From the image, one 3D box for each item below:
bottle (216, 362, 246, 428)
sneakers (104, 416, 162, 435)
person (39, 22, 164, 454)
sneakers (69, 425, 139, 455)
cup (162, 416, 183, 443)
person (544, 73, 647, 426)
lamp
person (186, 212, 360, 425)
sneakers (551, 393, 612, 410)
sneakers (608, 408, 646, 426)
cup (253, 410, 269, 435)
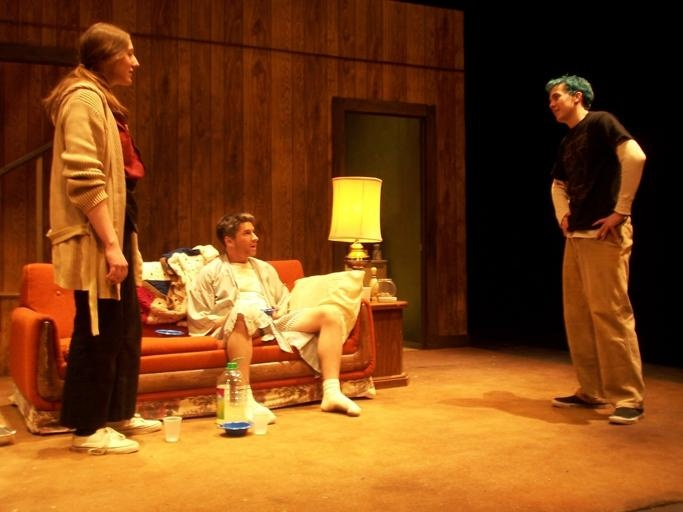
[{"bbox_3d":[-0.605,0.740,3.263,0.159,0.265,0.193,-1,1,-12],"label":"bottle"},{"bbox_3d":[-1.087,0.829,3.092,0.267,0.120,0.115,0,-1,-20],"label":"sneakers"},{"bbox_3d":[-1.092,-0.136,2.683,0.410,1.806,0.345,-1,2,-28],"label":"person"},{"bbox_3d":[-1.103,0.816,2.755,0.257,0.116,0.138,2,-4,-9],"label":"sneakers"},{"bbox_3d":[-0.852,0.847,3.021,0.106,0.112,0.108,-1,-8,0],"label":"cup"},{"bbox_3d":[1.438,0.034,3.427,0.291,1.673,0.585,-1,2,-15],"label":"person"},{"bbox_3d":[0.119,-0.227,4.417,0.403,0.637,0.403,2,0,10],"label":"lamp"},{"bbox_3d":[-0.479,0.318,3.635,1.109,1.243,0.797,-4,-3,44],"label":"person"},{"bbox_3d":[1.402,0.828,3.593,0.285,0.110,0.109,-2,-9,16],"label":"sneakers"},{"bbox_3d":[1.509,0.838,3.218,0.197,0.062,0.076,10,-14,-43],"label":"sneakers"},{"bbox_3d":[-0.426,0.856,3.128,0.084,0.094,0.085,0,-9,0],"label":"cup"}]
